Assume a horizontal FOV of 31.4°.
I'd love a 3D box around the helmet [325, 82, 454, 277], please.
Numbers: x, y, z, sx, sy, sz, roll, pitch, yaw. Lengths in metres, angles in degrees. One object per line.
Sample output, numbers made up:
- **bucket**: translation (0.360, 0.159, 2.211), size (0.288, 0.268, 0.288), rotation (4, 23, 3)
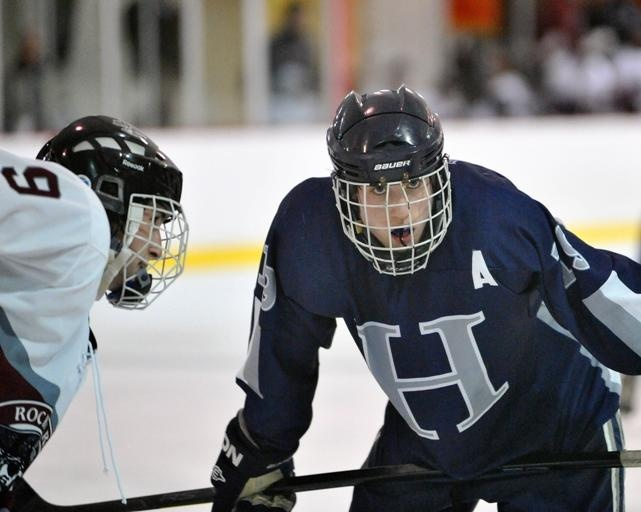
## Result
- **helmet**: translation (0.218, -0.268, 3.858), size (0.388, 0.573, 0.585), rotation (-9, 44, 3)
